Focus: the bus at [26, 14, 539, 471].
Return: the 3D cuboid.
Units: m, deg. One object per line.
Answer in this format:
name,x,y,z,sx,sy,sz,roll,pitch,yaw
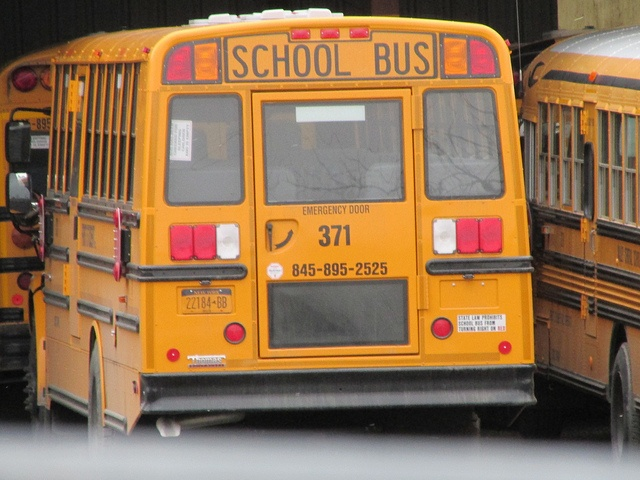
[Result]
bus,-0.119,-0.184,11.488,2.540,2.605,4.421,0,3,-12
